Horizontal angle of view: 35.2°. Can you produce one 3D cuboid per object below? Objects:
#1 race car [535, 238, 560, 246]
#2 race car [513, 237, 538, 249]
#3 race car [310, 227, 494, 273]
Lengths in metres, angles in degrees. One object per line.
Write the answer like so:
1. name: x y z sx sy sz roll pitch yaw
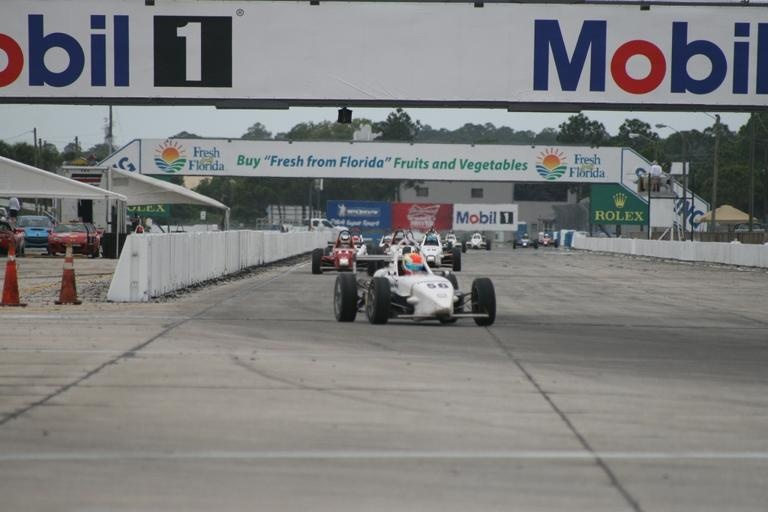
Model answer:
1. race car: 13.299 -0.992 97.043 1.570 1.022 3.013 1 -4 9
2. race car: 10.020 -0.786 85.757 0.947 0.626 1.644 0 -4 3
3. race car: -0.659 -0.099 42.369 3.322 2.330 9.364 1 1 1
